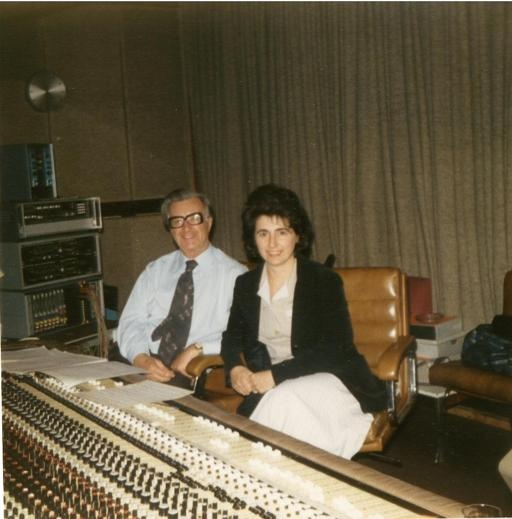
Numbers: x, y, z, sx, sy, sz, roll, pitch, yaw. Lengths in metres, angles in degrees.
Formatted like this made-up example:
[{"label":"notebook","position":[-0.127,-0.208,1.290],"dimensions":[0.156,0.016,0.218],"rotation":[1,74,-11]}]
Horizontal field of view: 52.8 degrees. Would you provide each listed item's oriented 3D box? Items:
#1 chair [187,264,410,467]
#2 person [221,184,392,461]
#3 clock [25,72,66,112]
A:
[{"label":"chair","position":[0.271,0.608,2.492],"dimensions":[1.060,1.032,0.818],"rotation":[-4,0,27]},{"label":"person","position":[0.172,0.220,2.196],"dimensions":[0.631,1.088,0.780],"rotation":[-8,9,-19]},{"label":"clock","position":[-1.596,-1.280,3.957],"dimensions":[0.024,0.294,0.355],"rotation":[3,11,38]}]
